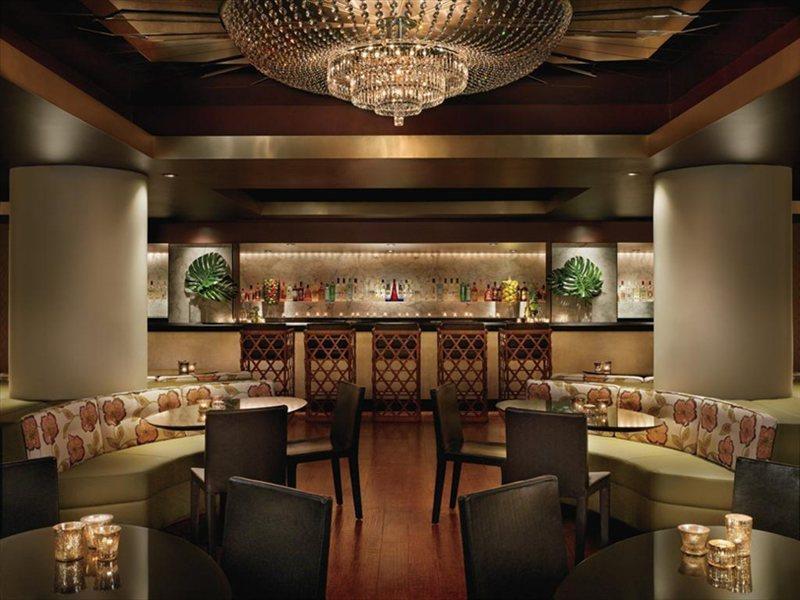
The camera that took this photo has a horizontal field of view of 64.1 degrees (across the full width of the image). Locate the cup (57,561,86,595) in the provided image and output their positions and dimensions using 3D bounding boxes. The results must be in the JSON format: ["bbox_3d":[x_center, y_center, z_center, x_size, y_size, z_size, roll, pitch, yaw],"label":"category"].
[{"bbox_3d":[-1.321,1.112,2.564,0.084,0.090,0.085,1,2,0],"label":"cup"}]

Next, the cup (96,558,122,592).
[{"bbox_3d":[-1.167,1.103,2.564,0.089,0.093,0.086,-4,-5,0],"label":"cup"}]

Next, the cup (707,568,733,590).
[{"bbox_3d":[1.258,1.100,2.524,0.065,0.048,0.063,0,1,0],"label":"cup"}]

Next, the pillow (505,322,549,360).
[{"bbox_3d":[1.647,0.513,8.347,0.513,0.427,0.492,0,3,7],"label":"pillow"}]

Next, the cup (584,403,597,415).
[{"bbox_3d":[1.385,0.798,4.684,0.058,0.052,0.070,0,0,16],"label":"cup"}]

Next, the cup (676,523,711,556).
[{"bbox_3d":[1.237,0.995,2.712,0.130,0.090,0.121,-1,0,0],"label":"cup"}]

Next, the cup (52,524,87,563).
[{"bbox_3d":[-1.365,1.022,2.726,0.143,0.152,0.144,1,-3,0],"label":"cup"}]

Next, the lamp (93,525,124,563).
[{"bbox_3d":[-1.200,1.010,2.696,0.124,0.134,0.129,3,-2,29],"label":"lamp"}]

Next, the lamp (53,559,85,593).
[{"bbox_3d":[-1.315,1.103,2.556,0.085,0.091,0.086,1,0,22],"label":"lamp"}]

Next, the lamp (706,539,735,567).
[{"bbox_3d":[1.290,1.024,2.573,0.094,0.069,0.094,0,1,15],"label":"lamp"}]

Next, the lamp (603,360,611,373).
[{"bbox_3d":[2.158,0.711,6.728,0.049,0.107,0.092,2,6,27],"label":"lamp"}]

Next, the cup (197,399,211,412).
[{"bbox_3d":[-1.458,0.781,4.767,0.084,0.062,0.084,2,4,0],"label":"cup"}]

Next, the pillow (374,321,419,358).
[{"bbox_3d":[-0.067,0.507,8.307,0.485,0.402,0.487,0,4,4],"label":"pillow"}]

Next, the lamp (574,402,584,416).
[{"bbox_3d":[1.255,0.771,4.520,0.087,0.090,0.163,-2,2,12],"label":"lamp"}]

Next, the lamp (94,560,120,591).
[{"bbox_3d":[-1.168,1.103,2.563,0.082,0.087,0.082,-2,-2,37],"label":"lamp"}]

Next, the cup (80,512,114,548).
[{"bbox_3d":[-1.318,0.977,2.766,0.138,0.113,0.138,2,2,0],"label":"cup"}]

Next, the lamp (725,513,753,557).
[{"bbox_3d":[1.407,0.987,2.669,0.135,0.199,0.127,-3,-11,29],"label":"lamp"}]

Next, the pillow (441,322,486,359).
[{"bbox_3d":[0.807,0.492,8.427,0.498,0.393,0.503,1,2,4],"label":"pillow"}]

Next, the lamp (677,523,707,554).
[{"bbox_3d":[1.236,0.996,2.706,0.117,0.086,0.112,1,-3,-31],"label":"lamp"}]

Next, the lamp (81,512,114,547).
[{"bbox_3d":[-1.321,0.976,2.784,0.134,0.110,0.137,3,2,23],"label":"lamp"}]

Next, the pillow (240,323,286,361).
[{"bbox_3d":[-1.743,0.541,8.347,0.516,0.543,0.498,1,6,2],"label":"pillow"}]

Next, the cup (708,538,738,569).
[{"bbox_3d":[1.298,1.024,2.577,0.099,0.072,0.100,0,0,0],"label":"cup"}]

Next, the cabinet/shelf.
[{"bbox_3d":[-0.245,-0.025,9.903,3.865,0.637,0.268,-1,5,0],"label":"cabinet/shelf"}]

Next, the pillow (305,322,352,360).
[{"bbox_3d":[-0.943,0.521,8.283,0.478,0.436,0.508,0,2,2],"label":"pillow"}]

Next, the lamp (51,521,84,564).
[{"bbox_3d":[-1.368,0.994,2.675,0.144,0.151,0.145,-1,-3,41],"label":"lamp"}]
